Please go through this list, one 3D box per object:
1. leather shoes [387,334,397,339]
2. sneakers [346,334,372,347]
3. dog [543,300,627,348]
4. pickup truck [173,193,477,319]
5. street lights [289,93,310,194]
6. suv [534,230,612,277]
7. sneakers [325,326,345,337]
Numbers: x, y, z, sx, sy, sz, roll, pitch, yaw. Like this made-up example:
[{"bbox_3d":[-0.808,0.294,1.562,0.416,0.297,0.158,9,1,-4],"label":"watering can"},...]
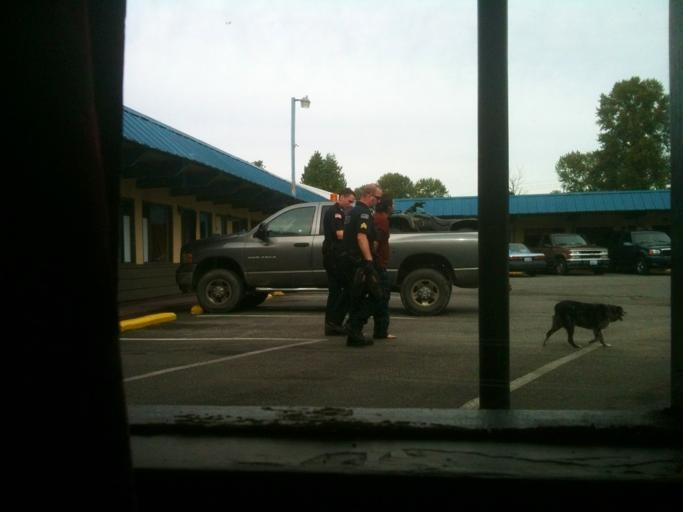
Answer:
[{"bbox_3d":[0.565,0.932,8.212,0.110,0.051,0.035,-6,0,23],"label":"leather shoes"},{"bbox_3d":[0.171,0.902,7.620,0.315,0.148,0.111,-1,0,-6],"label":"sneakers"},{"bbox_3d":[2.248,0.655,6.629,0.717,0.446,0.235,2,4,6],"label":"dog"},{"bbox_3d":[-0.202,0.071,11.323,4.337,1.680,1.919,1,0,12],"label":"pickup truck"},{"bbox_3d":[-1.213,-3.234,20.307,0.640,2.588,0.424,0,1,16],"label":"street lights"},{"bbox_3d":[5.920,-0.043,18.208,1.178,0.978,2.207,0,-2,-14],"label":"suv"},{"bbox_3d":[-0.119,0.865,8.208,0.301,0.142,0.114,-5,-6,19],"label":"sneakers"}]
